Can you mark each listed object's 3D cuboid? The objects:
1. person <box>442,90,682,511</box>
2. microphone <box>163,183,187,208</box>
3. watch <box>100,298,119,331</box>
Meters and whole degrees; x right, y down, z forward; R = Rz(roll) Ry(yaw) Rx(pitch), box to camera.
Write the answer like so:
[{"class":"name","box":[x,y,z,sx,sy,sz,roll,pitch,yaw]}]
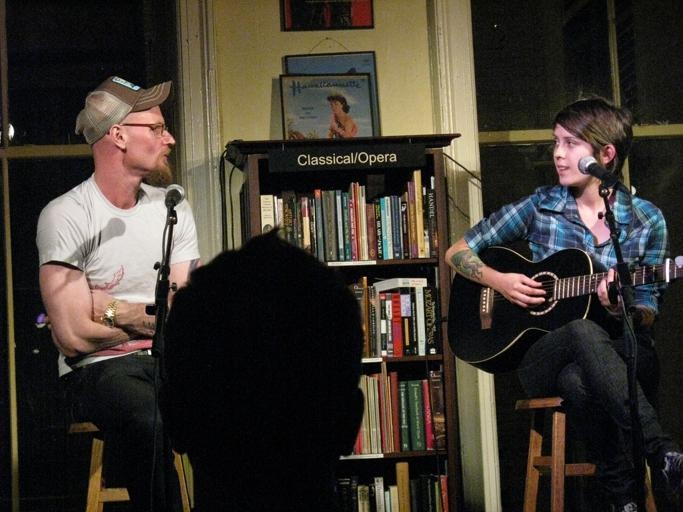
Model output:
[{"class":"person","box":[1.110,0.162,4.053,0.552,1.810,1.128,-1,-2,-34]},{"class":"microphone","box":[-0.698,-0.253,3.714,0.073,0.105,0.153,-1,-1,-11]},{"class":"watch","box":[-1.029,0.255,3.954,0.056,0.103,0.093,3,-10,5]}]
